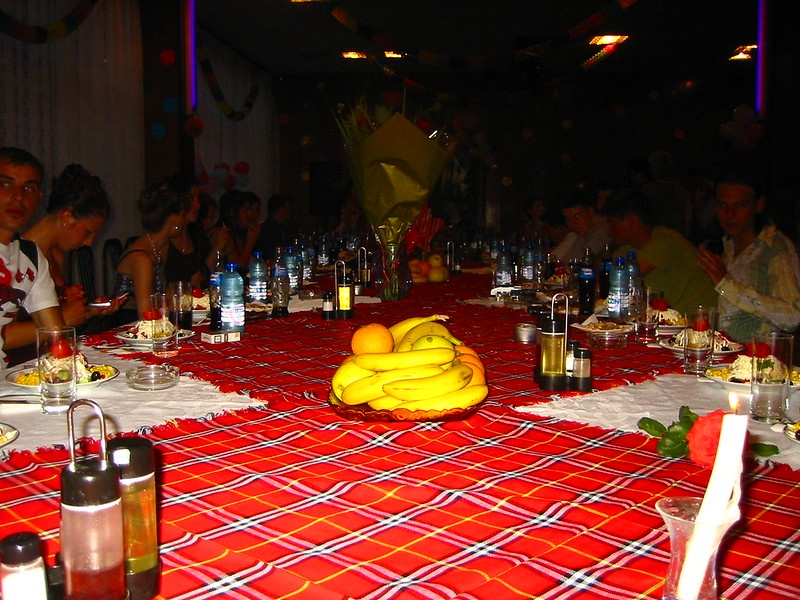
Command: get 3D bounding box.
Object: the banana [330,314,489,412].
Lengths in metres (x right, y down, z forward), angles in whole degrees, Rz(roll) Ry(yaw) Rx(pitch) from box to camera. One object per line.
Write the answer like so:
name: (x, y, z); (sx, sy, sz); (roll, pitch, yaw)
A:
banana: (0.056, 0.177, 1.470); (0.308, 0.095, 0.277); (-6, 11, -30)

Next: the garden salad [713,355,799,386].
garden salad: (1.026, 0.215, 1.703); (0.158, 0.023, 0.157); (0, 10, 37)

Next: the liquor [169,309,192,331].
liquor: (-0.948, 0.081, 2.479); (0.105, 0.101, 0.097); (0, 0, -8)

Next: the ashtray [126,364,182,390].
ashtray: (-0.750, 0.235, 1.749); (0.100, 0.032, 0.095); (5, 5, 16)
